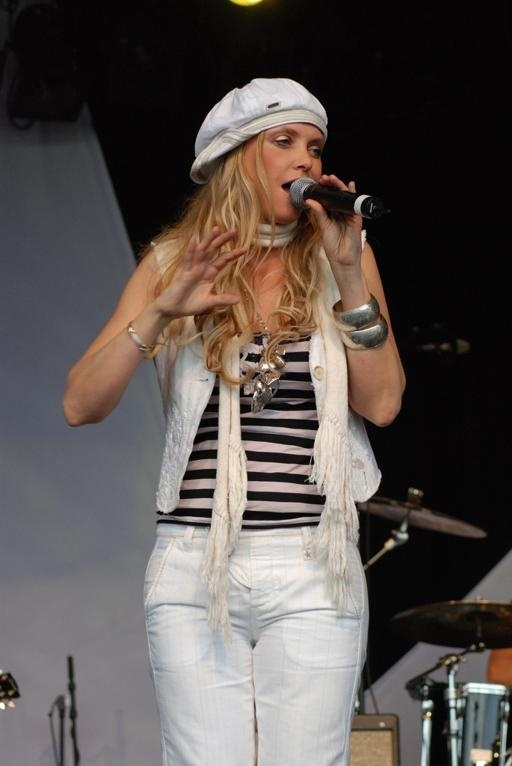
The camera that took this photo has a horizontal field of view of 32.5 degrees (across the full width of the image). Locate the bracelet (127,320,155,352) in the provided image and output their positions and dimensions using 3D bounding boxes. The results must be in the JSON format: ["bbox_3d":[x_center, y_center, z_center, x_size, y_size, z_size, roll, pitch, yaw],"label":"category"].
[{"bbox_3d":[-0.178,-0.067,1.343,0.038,0.050,0.030,-2,13,-16],"label":"bracelet"}]

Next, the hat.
[{"bbox_3d":[0.004,-0.426,1.551,0.181,0.103,0.182,-7,1,-37],"label":"hat"}]

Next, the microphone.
[{"bbox_3d":[0.112,-0.282,1.316,0.053,0.053,0.197,-23,30,-39],"label":"microphone"}]

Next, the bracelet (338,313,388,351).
[{"bbox_3d":[0.165,-0.078,1.367,0.065,0.033,0.061,-1,-2,0],"label":"bracelet"}]

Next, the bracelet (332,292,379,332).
[{"bbox_3d":[0.153,-0.111,1.403,0.062,0.035,0.061,-26,14,-38],"label":"bracelet"}]
